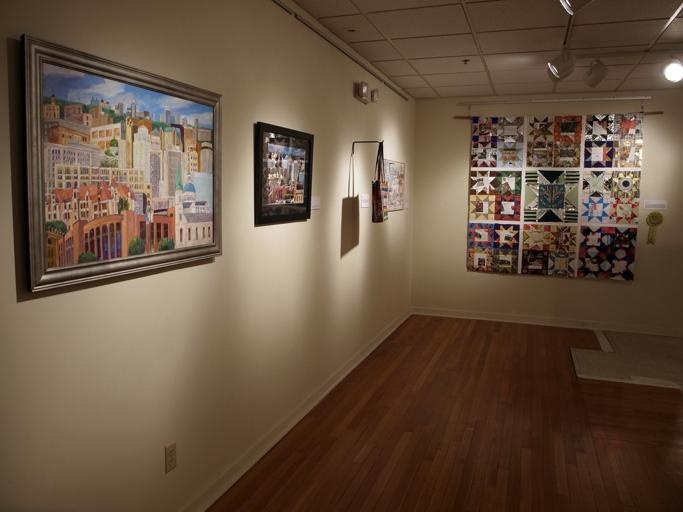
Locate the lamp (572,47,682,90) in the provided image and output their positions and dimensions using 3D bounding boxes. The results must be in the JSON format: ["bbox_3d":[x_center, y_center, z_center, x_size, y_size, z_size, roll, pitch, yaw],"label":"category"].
[{"bbox_3d":[2.808,-1.789,4.695,1.103,0.292,0.807,-7,14,-41],"label":"lamp"}]

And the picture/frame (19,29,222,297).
[{"bbox_3d":[-1.070,-0.454,2.330,0.062,1.300,1.325,1,3,24],"label":"picture/frame"}]

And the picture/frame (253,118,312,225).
[{"bbox_3d":[-0.409,-0.586,3.557,0.031,0.675,0.610,11,12,33],"label":"picture/frame"}]
